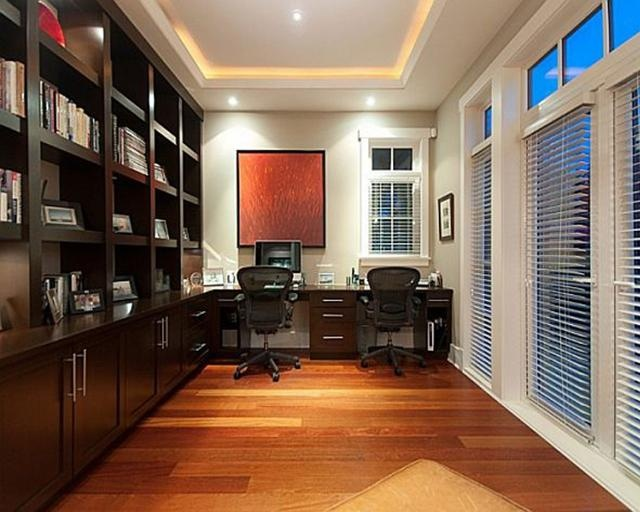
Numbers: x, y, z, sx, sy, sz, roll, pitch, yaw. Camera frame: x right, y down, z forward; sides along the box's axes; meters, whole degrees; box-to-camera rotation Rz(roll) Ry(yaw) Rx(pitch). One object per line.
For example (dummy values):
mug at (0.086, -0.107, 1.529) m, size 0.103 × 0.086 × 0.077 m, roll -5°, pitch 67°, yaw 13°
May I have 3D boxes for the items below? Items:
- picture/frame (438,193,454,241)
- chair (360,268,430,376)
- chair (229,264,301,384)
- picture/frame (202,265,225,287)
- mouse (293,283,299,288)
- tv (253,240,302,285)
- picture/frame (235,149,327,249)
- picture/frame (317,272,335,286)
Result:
picture/frame at (1.341, -0.403, 5.237) m, size 0.030 × 0.477 × 0.398 m, roll 3°, pitch 10°, yaw 37°
chair at (0.743, 0.606, 4.943) m, size 0.661 × 1.019 × 0.633 m, roll 1°, pitch 0°, yaw 13°
chair at (-0.524, 0.613, 4.814) m, size 0.622 × 1.139 × 0.783 m, roll 1°, pitch 11°, yaw 8°
picture/frame at (-1.204, 0.244, 5.468) m, size 0.236 × 0.246 × 0.183 m, roll 3°, pitch -10°, yaw -29°
mouse at (-0.265, 0.325, 5.346) m, size 0.066 × 0.067 × 0.037 m, roll 0°, pitch -9°, yaw -3°
tv at (-0.474, 0.012, 5.558) m, size 0.486 × 0.501 × 0.275 m, roll -1°, pitch 20°, yaw -4°
picture/frame at (-0.495, -0.675, 5.632) m, size 1.060 × 1.157 × 0.054 m, roll 0°, pitch -2°, yaw -3°
picture/frame at (0.071, 0.264, 5.626) m, size 0.136 × 0.136 × 0.020 m, roll 1°, pitch -11°, yaw 1°
